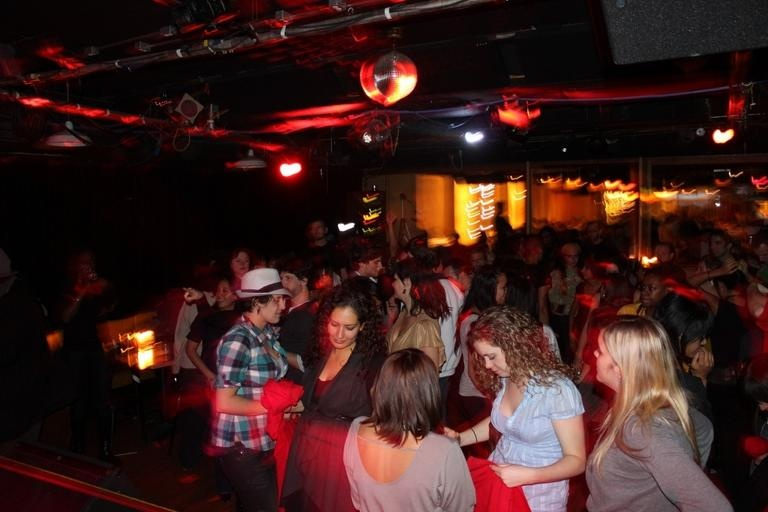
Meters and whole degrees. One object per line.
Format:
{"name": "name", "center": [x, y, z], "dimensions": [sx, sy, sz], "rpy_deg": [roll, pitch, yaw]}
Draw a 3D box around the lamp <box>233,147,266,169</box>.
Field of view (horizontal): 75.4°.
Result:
{"name": "lamp", "center": [-1.909, -1.357, 7.138], "dimensions": [0.328, 0.212, 0.338], "rpy_deg": [-4, -7, 44]}
